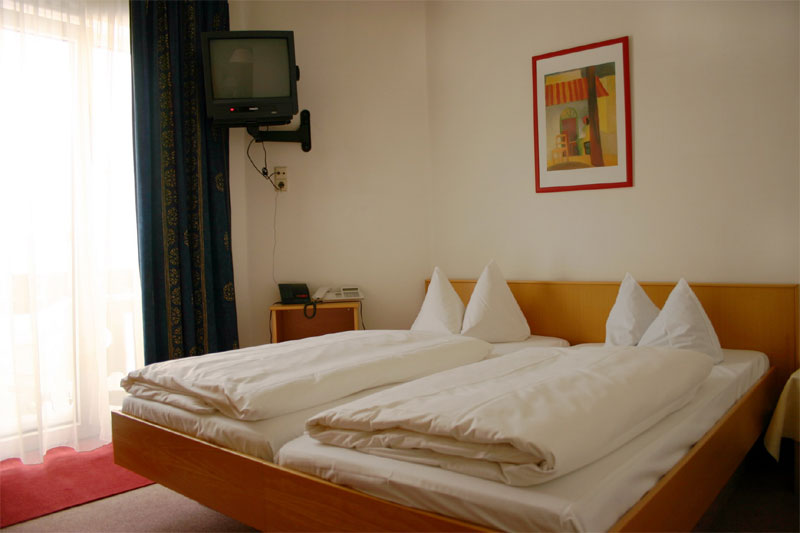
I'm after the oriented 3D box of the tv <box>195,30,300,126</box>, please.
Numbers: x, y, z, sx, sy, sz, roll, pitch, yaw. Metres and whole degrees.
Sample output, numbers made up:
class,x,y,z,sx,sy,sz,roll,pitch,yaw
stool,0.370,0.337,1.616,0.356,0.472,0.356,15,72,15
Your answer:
class,x,y,z,sx,sy,sz,roll,pitch,yaw
tv,-1.215,-1.608,5.302,0.801,0.779,0.802,0,7,6

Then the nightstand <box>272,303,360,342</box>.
class,x,y,z,sx,sy,sz,roll,pitch,yaw
nightstand,-0.694,0.526,5.056,0.653,0.484,0.361,-3,10,-4

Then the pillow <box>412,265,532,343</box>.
class,x,y,z,sx,sy,sz,roll,pitch,yaw
pillow,0.544,0.293,4.745,0.959,0.609,0.592,-4,2,20
